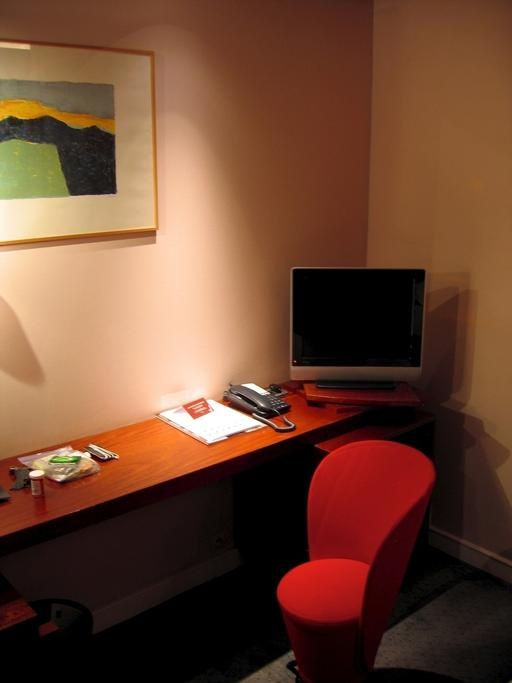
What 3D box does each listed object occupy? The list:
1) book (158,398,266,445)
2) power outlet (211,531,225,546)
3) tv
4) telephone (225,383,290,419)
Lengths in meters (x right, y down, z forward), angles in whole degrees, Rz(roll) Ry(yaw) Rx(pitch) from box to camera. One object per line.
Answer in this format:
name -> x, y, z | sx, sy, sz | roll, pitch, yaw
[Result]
book -> -0.173, 0.292, 1.995 | 0.179, 0.022, 0.219 | -15, 23, -40
power outlet -> -0.152, 0.827, 2.338 | 0.067, 0.065, 0.018 | -6, 9, -37
tv -> 0.403, -0.061, 2.235 | 0.523, 0.438, 0.053 | 2, 12, -2
telephone -> -0.011, 0.222, 2.146 | 0.170, 0.048, 0.132 | 21, 18, 31
